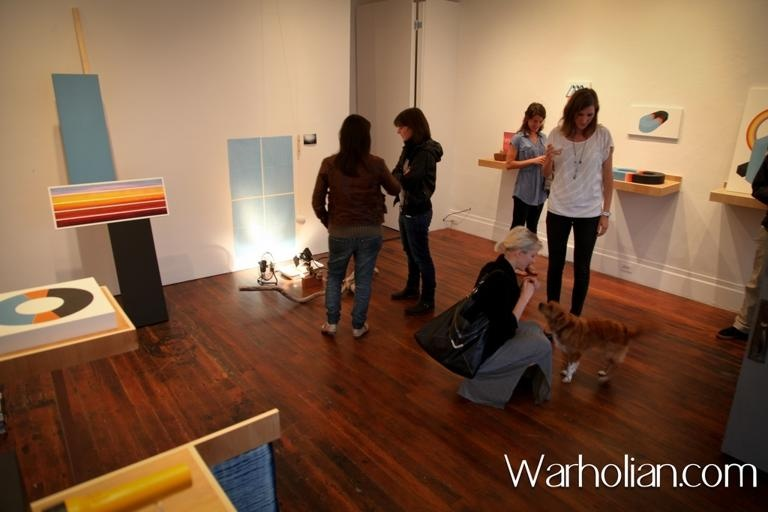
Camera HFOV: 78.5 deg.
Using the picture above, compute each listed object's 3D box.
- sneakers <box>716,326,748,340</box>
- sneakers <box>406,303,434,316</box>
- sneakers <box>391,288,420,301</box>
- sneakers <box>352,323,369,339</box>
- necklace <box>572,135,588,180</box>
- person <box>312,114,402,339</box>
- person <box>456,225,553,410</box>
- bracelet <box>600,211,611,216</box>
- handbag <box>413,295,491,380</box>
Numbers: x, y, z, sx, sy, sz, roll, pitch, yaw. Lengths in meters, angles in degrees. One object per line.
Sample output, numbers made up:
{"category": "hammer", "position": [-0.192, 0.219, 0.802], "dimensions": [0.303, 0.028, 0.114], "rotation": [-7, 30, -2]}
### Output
{"category": "sneakers", "position": [3.241, 0.710, 4.392], "dimensions": [0.269, 0.112, 0.109], "rotation": [6, 13, 24]}
{"category": "sneakers", "position": [0.367, 0.540, 4.743], "dimensions": [0.290, 0.127, 0.121], "rotation": [-1, 9, -19]}
{"category": "sneakers", "position": [0.234, 0.418, 5.036], "dimensions": [0.321, 0.141, 0.118], "rotation": [1, 15, -6]}
{"category": "sneakers", "position": [-0.220, 0.683, 4.373], "dimensions": [0.084, 0.075, 0.176], "rotation": [10, 26, 24]}
{"category": "necklace", "position": [1.685, -0.832, 4.011], "dimensions": [0.085, 0.285, 0.031], "rotation": [6, -14, -37]}
{"category": "person", "position": [-0.244, -0.202, 4.090], "dimensions": [0.713, 1.931, 0.285], "rotation": [-4, 20, -6]}
{"category": "person", "position": [0.949, 0.460, 3.617], "dimensions": [0.737, 1.325, 0.596], "rotation": [0, 22, -5]}
{"category": "bracelet", "position": [1.965, -0.379, 4.155], "dimensions": [0.059, 0.040, 0.056], "rotation": [3, 6, -26]}
{"category": "handbag", "position": [0.530, 0.652, 3.609], "dimensions": [0.462, 0.526, 0.233], "rotation": [42, 27, 22]}
